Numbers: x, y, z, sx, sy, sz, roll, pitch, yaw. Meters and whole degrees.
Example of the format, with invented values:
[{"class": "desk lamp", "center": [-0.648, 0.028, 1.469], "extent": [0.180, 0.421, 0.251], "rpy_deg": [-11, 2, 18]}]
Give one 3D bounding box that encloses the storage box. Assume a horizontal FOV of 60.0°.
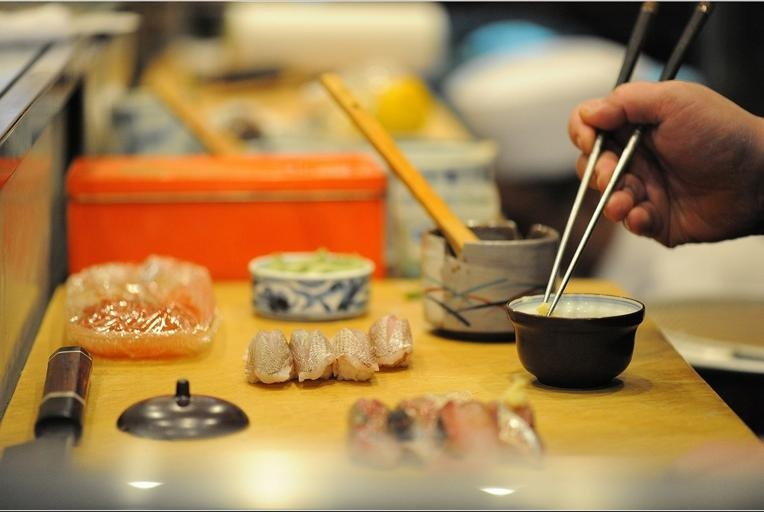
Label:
[{"class": "storage box", "center": [-0.266, -0.063, 1.100], "extent": [0.531, 0.249, 0.100], "rpy_deg": [4, 33, 7]}]
